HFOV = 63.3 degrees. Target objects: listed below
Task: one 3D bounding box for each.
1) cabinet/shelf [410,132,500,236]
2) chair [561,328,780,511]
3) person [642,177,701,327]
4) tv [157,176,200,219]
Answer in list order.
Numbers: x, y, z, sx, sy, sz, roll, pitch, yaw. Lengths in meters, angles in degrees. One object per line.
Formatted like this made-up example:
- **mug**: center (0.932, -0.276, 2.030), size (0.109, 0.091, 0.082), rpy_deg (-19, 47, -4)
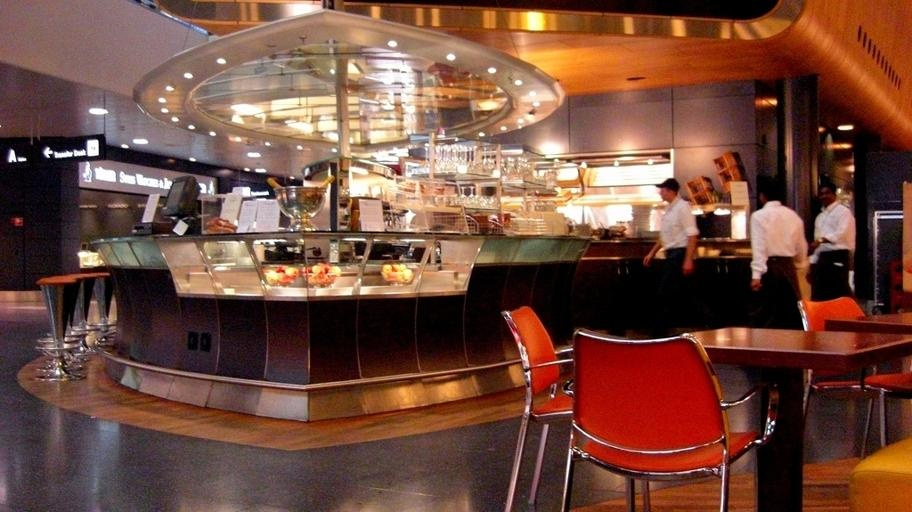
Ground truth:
- **cabinet/shelf**: center (0.026, -0.951, 9.880), size (1.180, 1.251, 0.908), rpy_deg (0, 1, -1)
- **chair**: center (1.781, 1.376, 6.942), size (1.874, 1.976, 1.764), rpy_deg (0, -1, 25)
- **person**: center (3.264, 0.019, 11.220), size (0.737, 2.324, 1.191), rpy_deg (0, 1, 13)
- **tv**: center (-3.515, -0.775, 9.579), size (0.556, 0.570, 0.327), rpy_deg (0, 2, 31)
